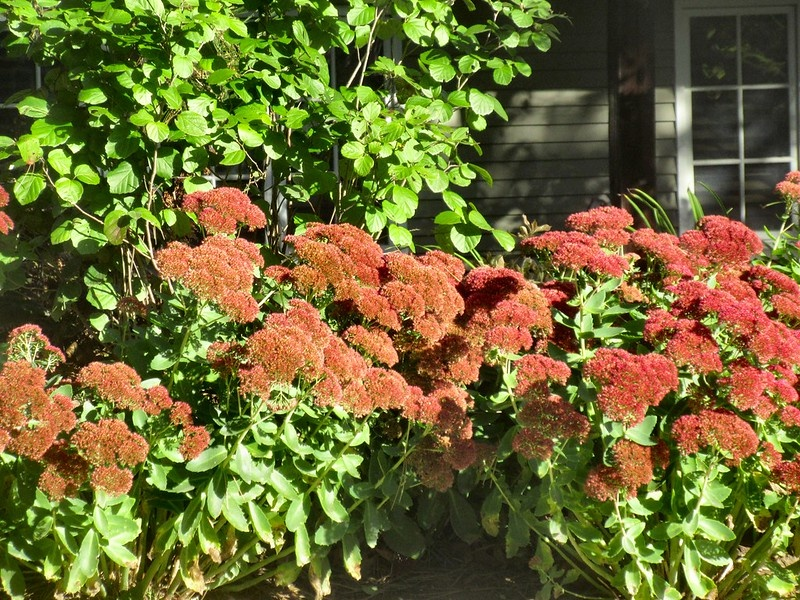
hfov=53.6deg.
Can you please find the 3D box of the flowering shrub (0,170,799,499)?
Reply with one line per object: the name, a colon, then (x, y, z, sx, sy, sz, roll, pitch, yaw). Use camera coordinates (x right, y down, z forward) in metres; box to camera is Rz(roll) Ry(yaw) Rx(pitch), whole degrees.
flowering shrub: (0.155, 0.342, 3.254, 2.748, 0.745, 1.516, 4, 20, 1)
